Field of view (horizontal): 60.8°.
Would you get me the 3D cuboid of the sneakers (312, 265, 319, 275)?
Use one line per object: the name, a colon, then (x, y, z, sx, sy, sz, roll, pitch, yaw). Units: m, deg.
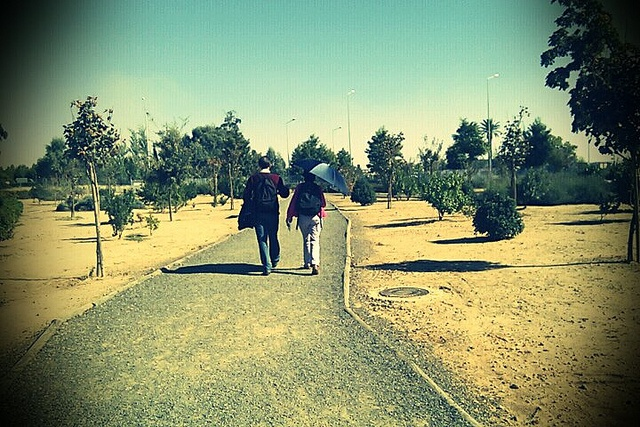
sneakers: (-0.125, 1.522, 14.370, 0.201, 0.331, 0.170, 1, -11, -5)

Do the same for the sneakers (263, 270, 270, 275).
sneakers: (-1.393, 1.564, 14.358, 0.102, 0.155, 0.129, 1, -25, 6)
